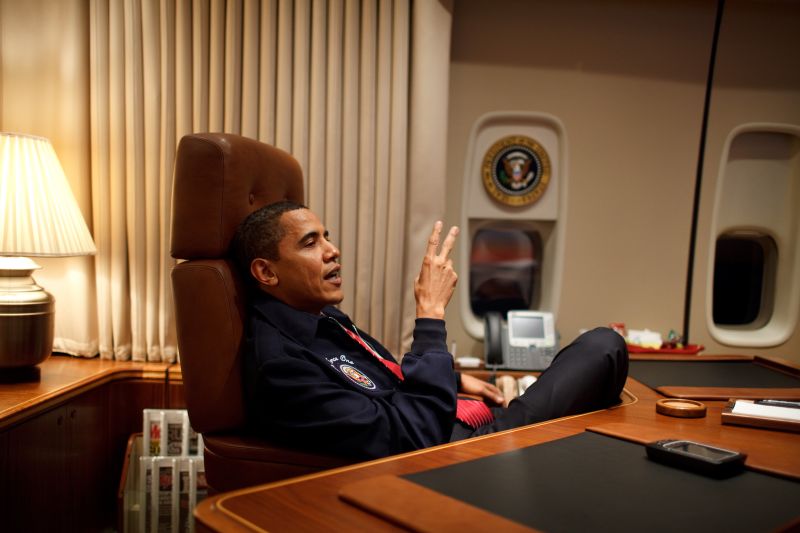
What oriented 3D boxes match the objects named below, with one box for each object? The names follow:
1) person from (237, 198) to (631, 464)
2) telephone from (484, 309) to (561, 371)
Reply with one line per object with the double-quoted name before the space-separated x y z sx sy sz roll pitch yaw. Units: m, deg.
"person" 0.144 0.365 2.409 1.597 1.096 0.862 2 -1 -19
"telephone" 0.593 0.355 2.923 0.378 0.207 0.392 -10 18 -6
